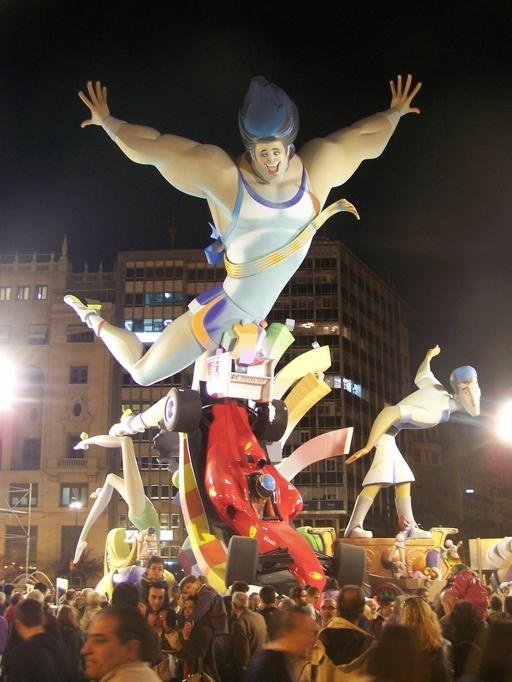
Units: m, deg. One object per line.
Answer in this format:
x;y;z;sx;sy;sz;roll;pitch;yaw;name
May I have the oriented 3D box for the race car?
-0.042;2.895;11.894;4.758;3.631;2.926;1;-13;-29;race car
